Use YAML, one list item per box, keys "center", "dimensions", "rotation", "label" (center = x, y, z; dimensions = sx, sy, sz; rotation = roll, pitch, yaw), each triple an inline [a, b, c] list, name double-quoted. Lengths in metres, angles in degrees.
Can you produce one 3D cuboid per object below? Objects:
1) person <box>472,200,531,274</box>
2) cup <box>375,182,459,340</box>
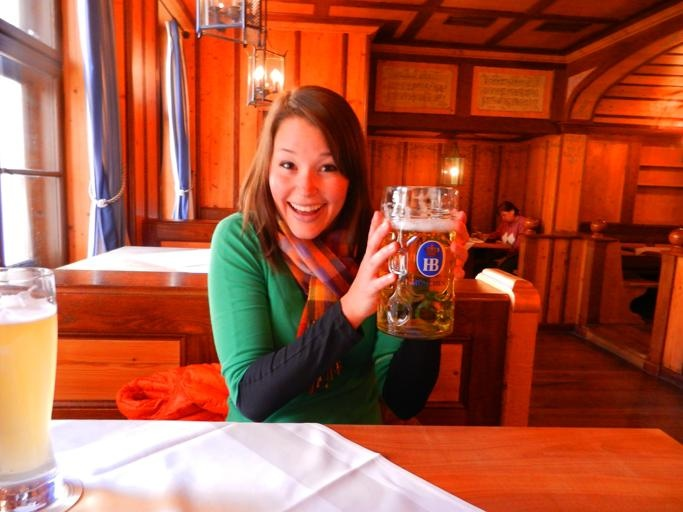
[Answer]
- center: [1.987, -0.253, 6.881]
  dimensions: [0.859, 0.995, 1.128]
  rotation: [1, 7, 5]
  label: "person"
- center: [0.183, 0.013, 1.342]
  dimensions: [0.183, 0.359, 0.135]
  rotation: [2, 11, 8]
  label: "cup"
